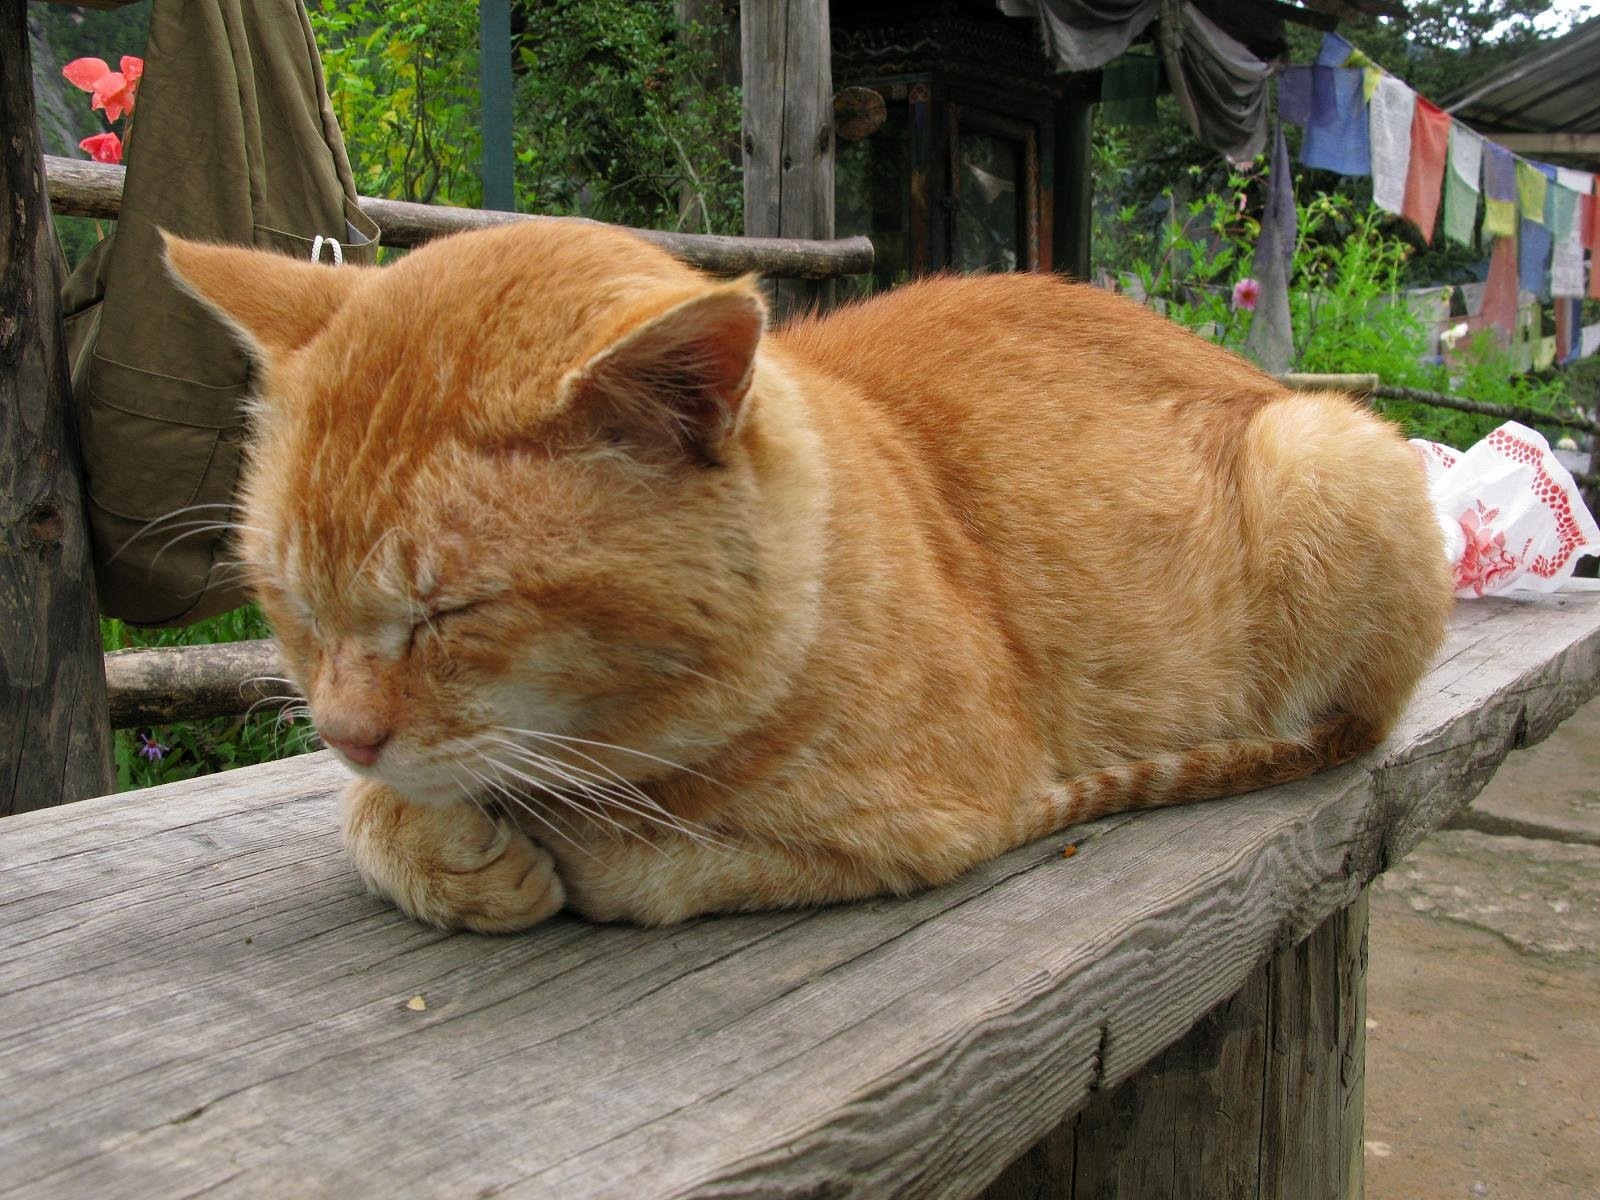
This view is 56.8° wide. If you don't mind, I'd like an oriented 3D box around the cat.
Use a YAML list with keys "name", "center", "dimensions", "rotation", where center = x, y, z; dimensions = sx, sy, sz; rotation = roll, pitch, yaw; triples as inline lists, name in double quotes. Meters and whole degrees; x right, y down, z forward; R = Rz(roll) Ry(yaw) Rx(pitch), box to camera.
- name: "cat"
  center: [0.081, -0.053, 2.039]
  dimensions: [1.398, 0.602, 1.041]
  rotation: [-16, 15, -40]
